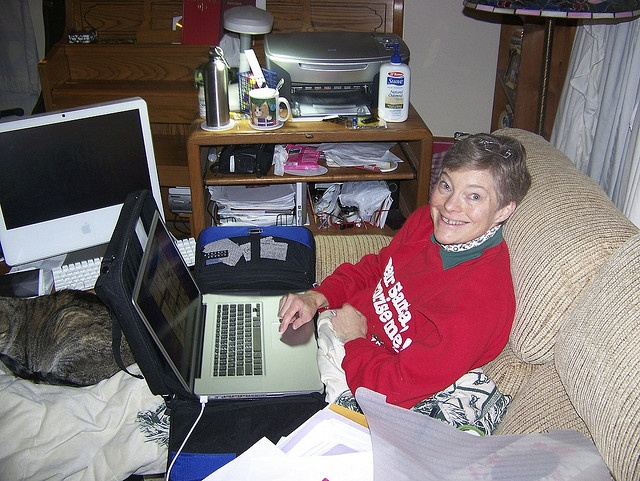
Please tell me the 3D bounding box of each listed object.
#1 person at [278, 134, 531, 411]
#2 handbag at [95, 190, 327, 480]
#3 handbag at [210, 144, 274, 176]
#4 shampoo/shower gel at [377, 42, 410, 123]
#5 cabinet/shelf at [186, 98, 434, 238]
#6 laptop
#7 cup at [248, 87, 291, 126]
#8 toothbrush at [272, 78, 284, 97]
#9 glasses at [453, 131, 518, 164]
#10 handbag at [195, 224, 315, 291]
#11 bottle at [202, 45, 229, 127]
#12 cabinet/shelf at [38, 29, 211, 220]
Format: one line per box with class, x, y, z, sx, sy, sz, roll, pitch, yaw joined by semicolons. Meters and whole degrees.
person;0.256;0.117;1.571;0.638;0.918;0.636;-2;33;-17
handbag;-0.258;0.181;1.355;0.518;0.568;0.637;-2;25;-2
handbag;-0.355;-0.353;2.301;0.197;0.085;0.169;3;38;0
shampoo/shower gel;0.331;-0.705;2.188;0.137;0.352;0.088;3;42;7
cabinet/shelf;-0.049;-0.358;2.574;1.118;0.739;0.689;-3;32;-4
laptop;-0.257;0.173;1.451;0.448;0.358;0.445;-3;31;-9
cup;-0.215;-0.602;2.185;0.145;0.161;0.226;20;33;38
toothbrush;-0.185;-0.686;2.162;0.026;0.132;0.018;30;53;-1
glasses;0.477;-0.257;1.418;0.121;0.040;0.098;5;35;-3
handbag;-0.244;0.060;1.793;0.331;0.103;0.267;1;60;-9
bottle;-0.455;-0.666;2.136;0.121;0.328;0.178;-6;25;-10
cabinet/shelf;-0.943;-0.694;2.823;0.933;0.984;0.731;-3;28;-5
